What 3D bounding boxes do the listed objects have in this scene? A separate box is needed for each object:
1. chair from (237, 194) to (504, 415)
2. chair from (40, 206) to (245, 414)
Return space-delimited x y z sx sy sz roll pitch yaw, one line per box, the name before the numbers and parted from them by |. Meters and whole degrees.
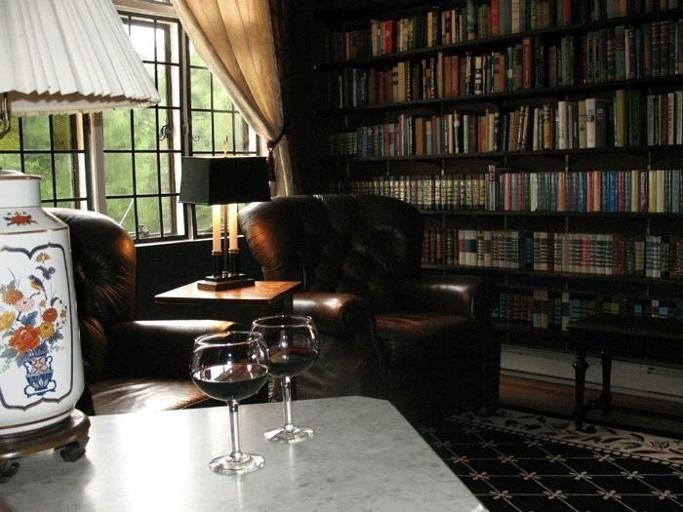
chair | 0.140 0.229 3.532 1.378 1.271 1.220 0 -3 -40
chair | -0.813 0.202 2.714 0.788 1.029 0.778 -1 -5 13
